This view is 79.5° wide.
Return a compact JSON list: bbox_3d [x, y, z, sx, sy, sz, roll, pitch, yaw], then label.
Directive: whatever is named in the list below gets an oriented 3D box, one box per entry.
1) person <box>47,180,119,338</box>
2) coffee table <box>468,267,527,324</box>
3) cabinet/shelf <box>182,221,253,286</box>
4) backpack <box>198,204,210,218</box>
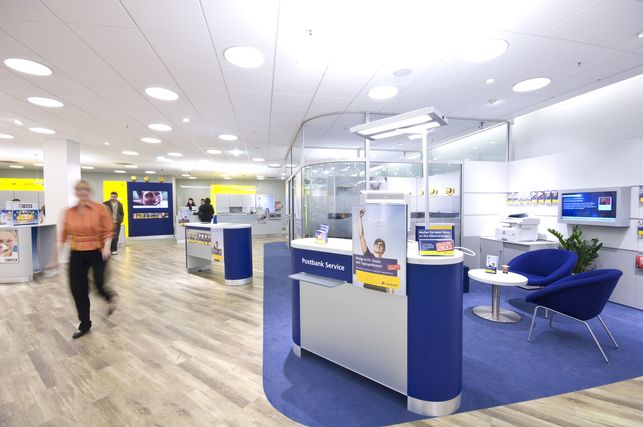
[{"bbox_3d":[-3.808,0.848,6.292,0.759,2.219,0.454,-5,9,-34],"label":"person"},{"bbox_3d":[3.037,1.438,6.709,0.952,0.647,0.940,0,-2,22],"label":"coffee table"},{"bbox_3d":[-2.385,0.836,8.841,0.889,1.268,1.985,-6,9,-40],"label":"cabinet/shelf"},{"bbox_3d":[-3.886,-0.062,12.730,0.408,0.536,0.308,-9,14,-41],"label":"backpack"}]
